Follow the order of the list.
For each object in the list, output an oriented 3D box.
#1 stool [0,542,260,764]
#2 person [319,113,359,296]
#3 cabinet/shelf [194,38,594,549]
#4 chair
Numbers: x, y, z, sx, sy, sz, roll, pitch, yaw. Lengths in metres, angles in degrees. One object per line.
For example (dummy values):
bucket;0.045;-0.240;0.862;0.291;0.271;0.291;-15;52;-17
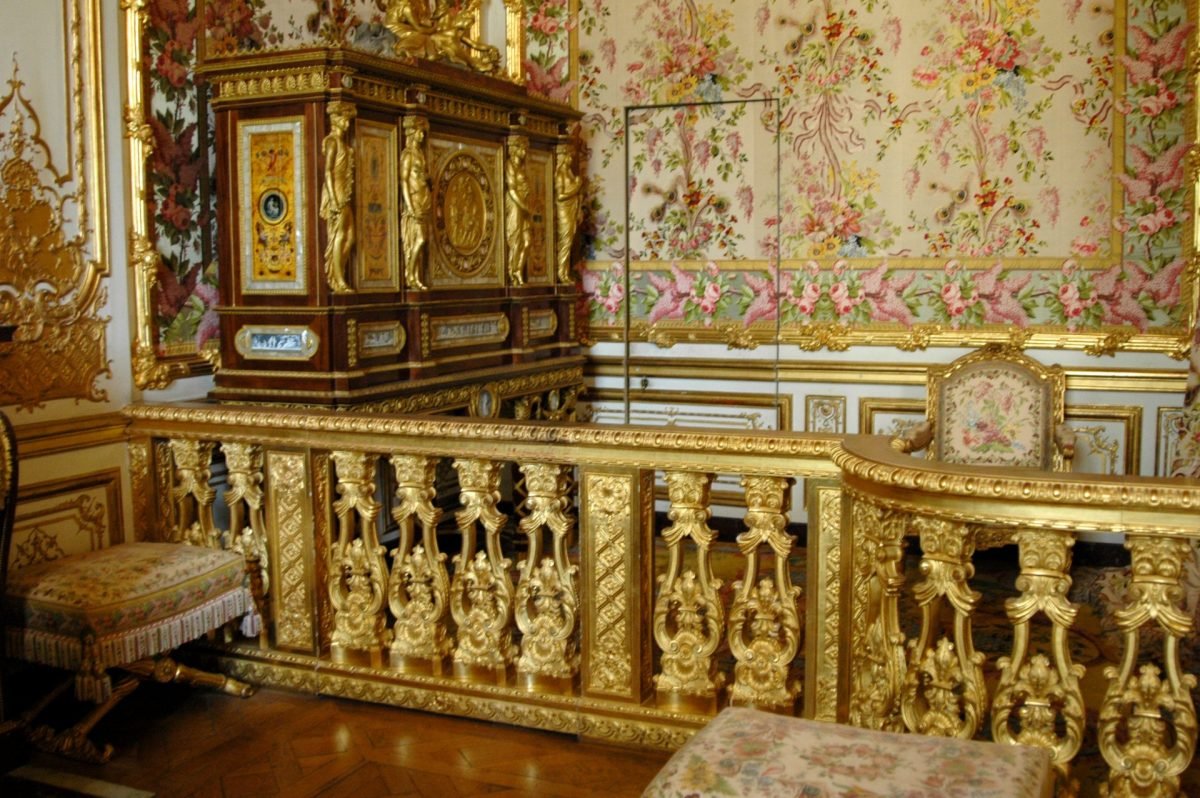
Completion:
stool;-1.758;0.915;4.274;0.631;0.586;0.815;6;7;31
person;-1.206;-0.908;5.083;0.170;0.860;0.130;-3;10;-14
cabinet/shelf;-0.921;-0.926;6.022;0.801;1.715;2.306;4;9;29
chair;2.008;0.048;5.591;0.629;0.887;0.504;1;3;25
